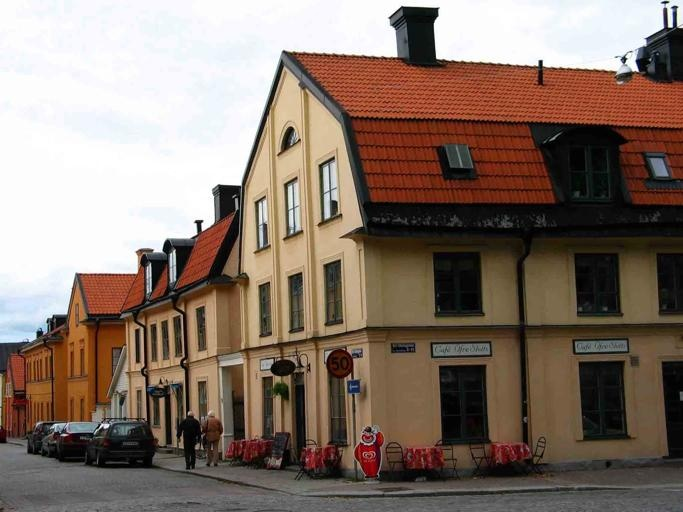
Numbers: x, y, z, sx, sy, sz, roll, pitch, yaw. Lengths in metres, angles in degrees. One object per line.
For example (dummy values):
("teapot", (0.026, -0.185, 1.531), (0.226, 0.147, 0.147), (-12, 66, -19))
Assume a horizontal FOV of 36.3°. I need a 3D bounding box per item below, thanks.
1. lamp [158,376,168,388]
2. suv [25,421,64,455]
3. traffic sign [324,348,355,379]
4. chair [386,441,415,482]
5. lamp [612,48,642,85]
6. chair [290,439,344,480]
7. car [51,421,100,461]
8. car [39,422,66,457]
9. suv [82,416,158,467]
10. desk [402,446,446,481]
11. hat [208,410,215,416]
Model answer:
("lamp", (-8.160, 5.805, 47.291), (0.355, 0.595, 0.621), (0, -7, -5))
("suv", (-15.448, 9.441, 52.819), (1.956, 1.417, 3.693), (1, -3, -10))
("traffic sign", (-0.059, 3.099, 29.610), (1.096, 1.117, 0.156), (0, -1, -16))
("chair", (1.536, 5.810, 29.342), (0.557, 0.900, 0.656), (0, -2, -2))
("lamp", (9.347, -6.251, 34.323), (0.625, 0.969, 0.593), (-7, 0, 37))
("chair", (-0.758, 6.073, 30.923), (1.093, 0.968, 0.970), (4, -5, -35))
("car", (-11.223, 7.788, 43.360), (1.229, 0.931, 2.872), (1, -5, -11))
("car", (-13.199, 8.409, 47.133), (1.272, 1.031, 2.984), (0, -3, -17))
("suv", (-8.247, 7.066, 38.713), (1.880, 1.789, 2.461), (7, -17, -28))
("desk", (2.325, 5.882, 29.400), (1.147, 0.883, 0.630), (-1, -15, -3))
("hat", (-4.695, 5.690, 37.085), (0.258, 0.347, 0.340), (1, -2, -1))
